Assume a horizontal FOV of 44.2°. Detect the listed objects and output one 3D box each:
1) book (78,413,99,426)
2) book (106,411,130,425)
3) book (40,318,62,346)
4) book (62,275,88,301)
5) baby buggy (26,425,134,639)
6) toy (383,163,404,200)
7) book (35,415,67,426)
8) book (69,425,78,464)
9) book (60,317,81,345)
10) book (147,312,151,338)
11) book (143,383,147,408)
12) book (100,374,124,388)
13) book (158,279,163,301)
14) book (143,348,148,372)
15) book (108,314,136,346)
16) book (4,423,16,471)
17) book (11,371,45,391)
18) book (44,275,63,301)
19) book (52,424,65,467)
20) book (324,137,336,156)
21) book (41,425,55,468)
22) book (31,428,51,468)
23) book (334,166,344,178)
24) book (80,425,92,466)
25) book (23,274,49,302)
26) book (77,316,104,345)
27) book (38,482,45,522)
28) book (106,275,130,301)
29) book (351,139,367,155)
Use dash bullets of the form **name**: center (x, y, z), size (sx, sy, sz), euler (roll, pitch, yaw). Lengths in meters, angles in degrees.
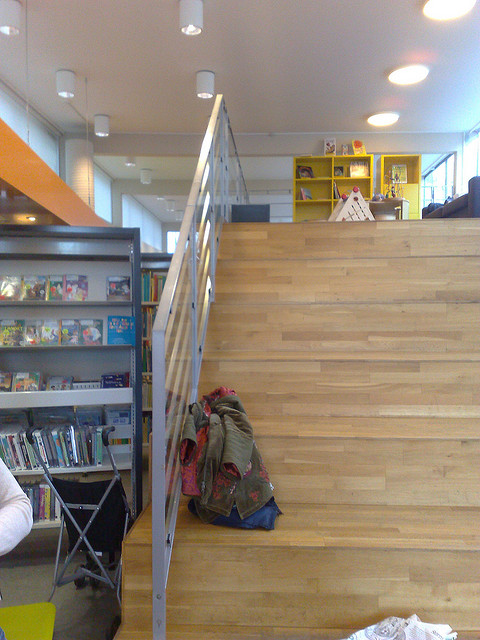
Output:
- **book**: center (-0.975, 0.663, 3.790), size (0.130, 0.073, 0.106), euler (-1, -1, -15)
- **book**: center (-0.786, 0.653, 3.806), size (0.096, 0.067, 0.101), euler (1, -6, -8)
- **book**: center (-1.155, 0.090, 3.594), size (0.140, 0.213, 0.022), euler (0, -10, -6)
- **book**: center (-1.028, -0.192, 3.646), size (0.141, 0.152, 0.048), euler (-7, 4, -32)
- **baby buggy**: center (-0.761, 0.971, 2.870), size (0.474, 0.874, 1.113), euler (-1, -1, -12)
- **toy**: center (1.881, -1.788, 7.395), size (0.331, 0.384, 0.219), euler (0, -1, -43)
- **book**: center (-1.212, 0.658, 3.782), size (0.191, 0.069, 0.031), euler (-1, -1, -13)
- **book**: center (-1.015, 0.793, 3.613), size (0.034, 0.162, 0.148), euler (-1, 7, -8)
- **book**: center (-1.049, 0.084, 3.628), size (0.130, 0.195, 0.026), euler (6, -14, -25)
- **book**: center (-0.770, 0.054, 4.984), size (0.029, 0.216, 0.051), euler (-1, -1, -10)
- **book**: center (-0.765, 0.631, 4.737), size (0.031, 0.193, 0.097), euler (-1, -1, -12)
- **book**: center (-0.793, 0.390, 3.605), size (0.122, 0.073, 0.185), euler (-1, -1, 12)
- **book**: center (-0.684, -0.264, 5.053), size (0.039, 0.167, 0.082), euler (-1, -1, -8)
- **book**: center (-0.793, 0.352, 4.920), size (0.032, 0.204, 0.089), euler (-1, -1, -10)
- **book**: center (-0.714, 0.072, 3.568), size (0.229, 0.180, 0.092), euler (-2, -1, 39)
- **book**: center (-1.355, 0.801, 3.463), size (0.072, 0.215, 0.033), euler (-1, -1, 9)
- **book**: center (-1.297, 0.382, 3.586), size (0.125, 0.130, 0.032), euler (7, -20, -7)
- **book**: center (-1.142, -0.196, 3.608), size (0.108, 0.153, 0.057), euler (-1, -1, -21)
- **book**: center (-1.122, 0.808, 3.639), size (0.067, 0.231, 0.141), euler (-1, -1, -19)
- **book**: center (1.097, -2.152, 7.223), size (0.128, 0.177, 0.103), euler (-1, -1, -8)
- **book**: center (-1.147, 0.790, 3.520), size (0.039, 0.251, 0.208), euler (-9, -2, -7)
- **book**: center (-1.189, 0.805, 3.533), size (0.101, 0.235, 0.274), euler (-1, -1, -19)
- **book**: center (1.222, -1.861, 7.325), size (0.143, 0.184, 0.022), euler (1, -8, 0)
- **book**: center (-0.941, 0.807, 3.647), size (0.038, 0.176, 0.158), euler (-3, 1, -8)
- **book**: center (-1.241, -0.186, 3.575), size (0.140, 0.204, 0.025), euler (4, -16, -17)
- **book**: center (-0.930, 0.083, 3.661), size (0.144, 0.200, 0.019), euler (4, -19, -15)
- **book**: center (-1.170, 1.113, 3.485), size (0.027, 0.214, 0.049), euler (-1, -1, -21)
- **book**: center (-0.764, -0.191, 3.679), size (0.135, 0.147, 0.076), euler (1, -6, -4)
- **book**: center (1.456, -2.160, 7.262), size (0.143, 0.212, 0.061), euler (0, -10, -7)
